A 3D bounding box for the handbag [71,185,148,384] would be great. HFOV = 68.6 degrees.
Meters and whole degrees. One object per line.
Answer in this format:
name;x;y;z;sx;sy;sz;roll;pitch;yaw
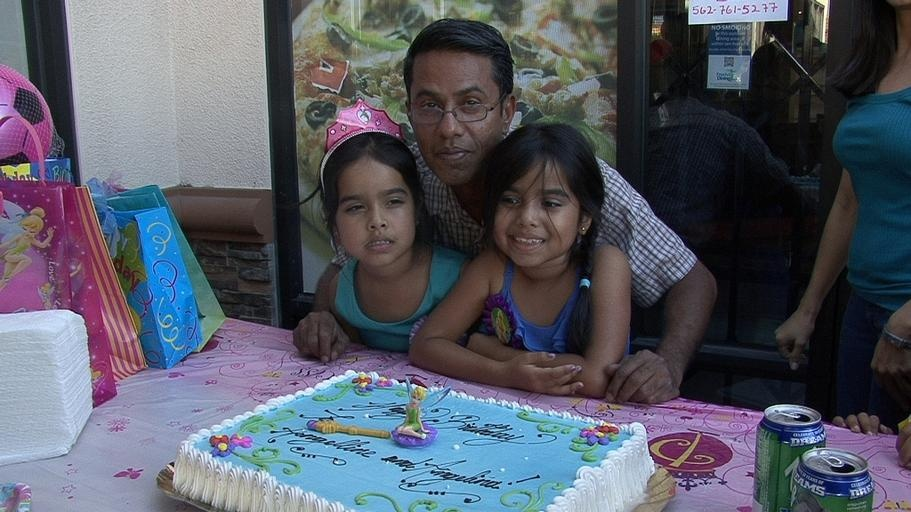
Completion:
handbag;-1.605;0.130;3.051;0.236;0.679;0.676;-17;33;-27
